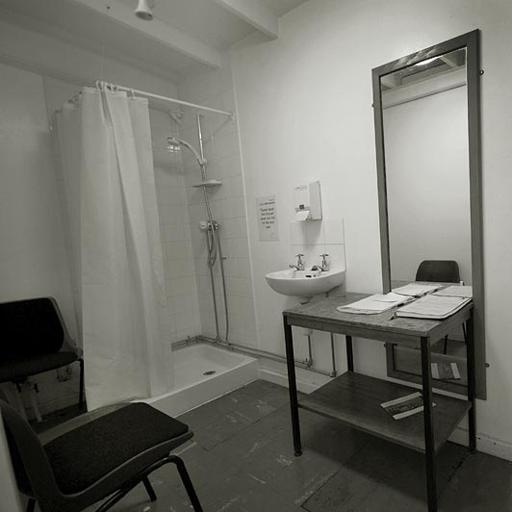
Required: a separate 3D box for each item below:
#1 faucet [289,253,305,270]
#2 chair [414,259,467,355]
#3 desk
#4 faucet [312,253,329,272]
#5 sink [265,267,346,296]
[{"bbox_3d":[0.291,0.046,2.997,0.064,0.126,0.117,3,6,38],"label":"faucet"},{"bbox_3d":[0.973,0.181,2.333,0.251,0.468,0.303,-2,-25,28],"label":"chair"},{"bbox_3d":[0.589,0.546,2.409,0.765,1.199,1.051,-13,11,-43],"label":"desk"},{"bbox_3d":[0.423,0.047,2.799,0.096,0.116,0.107,9,18,40],"label":"faucet"},{"bbox_3d":[0.276,0.189,2.749,0.497,0.186,0.355,3,12,35],"label":"sink"}]
